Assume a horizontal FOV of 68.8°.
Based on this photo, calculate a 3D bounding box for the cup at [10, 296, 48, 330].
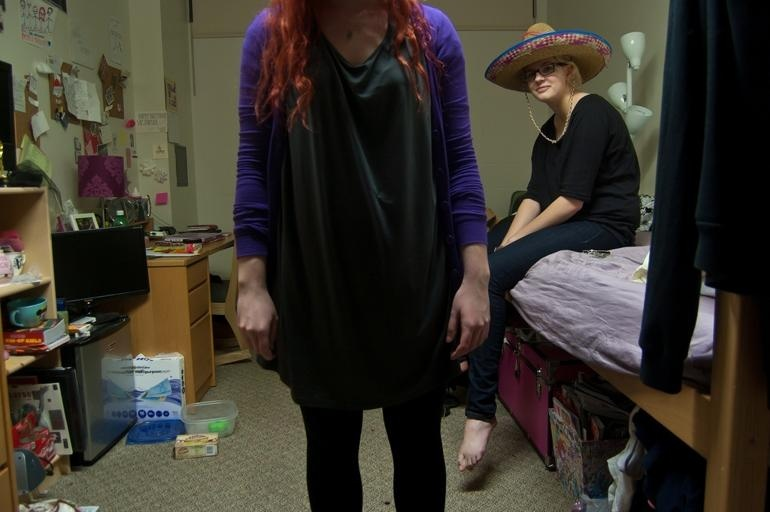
[{"bbox_3d":[-1.503,0.244,2.436,0.107,0.106,0.142,3,13,10],"label":"cup"}]

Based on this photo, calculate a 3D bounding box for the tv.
[{"bbox_3d":[-1.432,0.101,2.853,0.450,0.423,0.149,-8,1,-39],"label":"tv"}]

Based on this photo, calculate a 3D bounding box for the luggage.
[{"bbox_3d":[0.674,0.605,2.678,0.395,0.487,0.657,0,9,-6],"label":"luggage"}]

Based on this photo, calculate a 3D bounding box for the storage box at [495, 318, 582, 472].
[{"bbox_3d":[0.672,0.608,2.686,0.396,0.490,0.653,-1,10,-6],"label":"storage box"}]

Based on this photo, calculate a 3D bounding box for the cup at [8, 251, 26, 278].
[{"bbox_3d":[-1.541,0.035,2.379,0.076,0.096,0.080,-2,-2,0],"label":"cup"}]
